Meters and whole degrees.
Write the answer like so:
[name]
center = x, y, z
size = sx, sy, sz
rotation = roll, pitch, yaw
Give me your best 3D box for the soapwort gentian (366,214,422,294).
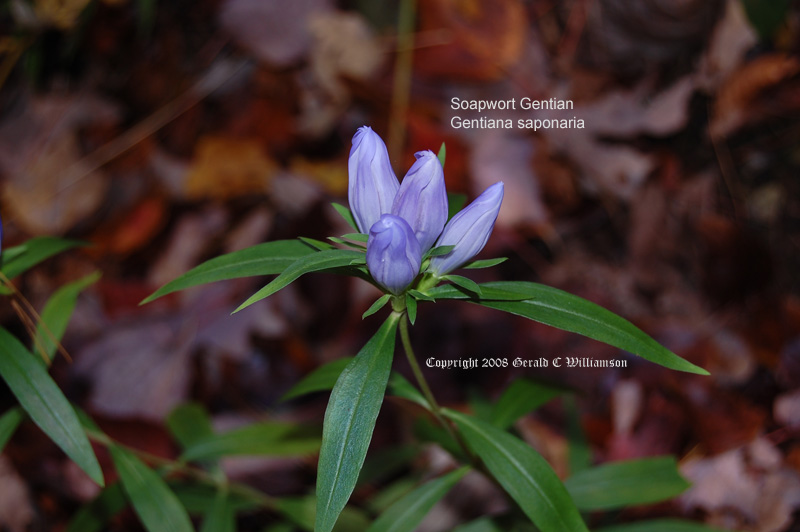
[soapwort gentian]
center = 0.002, -0.014, 1.048
size = 0.069, 0.126, 0.063
rotation = -27, 44, -16
